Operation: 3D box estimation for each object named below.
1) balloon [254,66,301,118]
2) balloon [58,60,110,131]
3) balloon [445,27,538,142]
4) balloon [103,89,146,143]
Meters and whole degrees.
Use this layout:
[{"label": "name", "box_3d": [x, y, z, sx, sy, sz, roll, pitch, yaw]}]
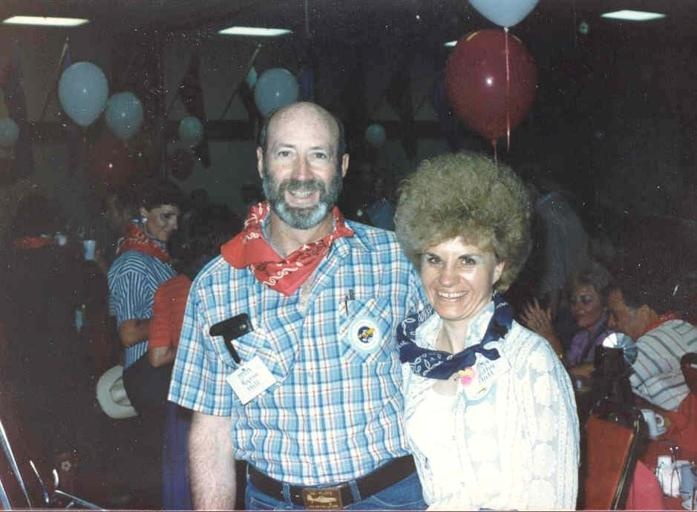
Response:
[{"label": "balloon", "box_3d": [-0.546, -1.202, 5.509, 0.321, 0.378, 0.330, 16, 19, 25]}, {"label": "balloon", "box_3d": [-1.899, -1.146, 5.285, 0.381, 0.497, 0.390, 11, 15, 31]}, {"label": "balloon", "box_3d": [1.054, -1.202, 5.239, 0.705, 0.870, 0.705, -6, 9, -33]}, {"label": "balloon", "box_3d": [-1.709, -1.029, 5.509, 0.309, 0.381, 0.311, -4, 15, -15]}]
